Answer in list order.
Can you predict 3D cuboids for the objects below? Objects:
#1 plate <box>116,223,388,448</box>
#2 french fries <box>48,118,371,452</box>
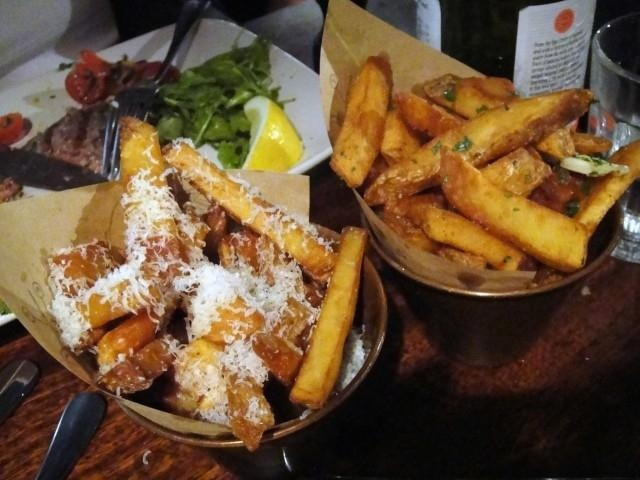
[{"bbox_3d":[-0.142,0.128,1.216,0.523,0.401,0.381,-8,19,-21],"label":"plate"},{"bbox_3d":[-0.265,0.126,1.154,0.596,0.265,0.780,-14,68,-26],"label":"french fries"}]
